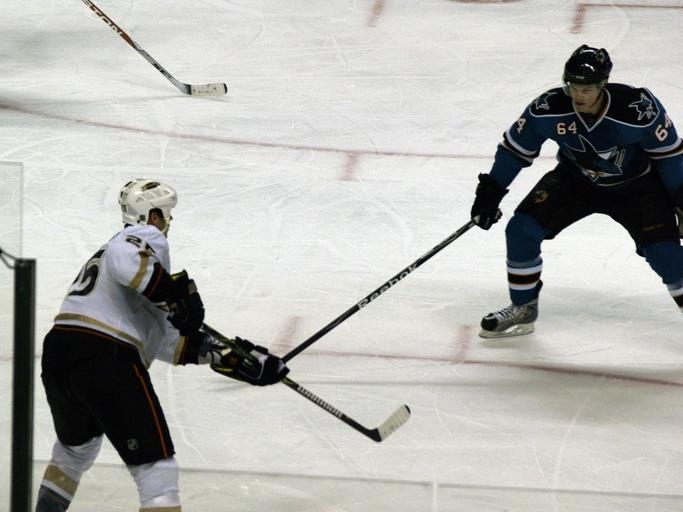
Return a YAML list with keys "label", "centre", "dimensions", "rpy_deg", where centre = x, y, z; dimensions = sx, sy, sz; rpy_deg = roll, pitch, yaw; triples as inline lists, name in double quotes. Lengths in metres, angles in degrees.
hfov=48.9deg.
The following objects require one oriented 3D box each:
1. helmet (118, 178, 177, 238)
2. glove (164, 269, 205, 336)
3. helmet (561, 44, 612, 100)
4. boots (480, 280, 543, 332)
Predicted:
- label: "helmet"
  centre: [-0.726, -0.181, 2.798]
  dimensions: [0.186, 0.151, 0.219]
  rpy_deg: [8, 18, 41]
- label: "glove"
  centre: [-0.543, 0.172, 2.696]
  dimensions: [0.096, 0.218, 0.153]
  rpy_deg: [19, 43, 43]
- label: "helmet"
  centre: [1.047, -0.797, 3.215]
  dimensions: [0.187, 0.210, 0.160]
  rpy_deg: [7, 14, 21]
- label: "boots"
  centre: [0.804, 0.281, 3.677]
  dimensions: [0.398, 0.198, 0.122]
  rpy_deg: [-4, 23, -37]
